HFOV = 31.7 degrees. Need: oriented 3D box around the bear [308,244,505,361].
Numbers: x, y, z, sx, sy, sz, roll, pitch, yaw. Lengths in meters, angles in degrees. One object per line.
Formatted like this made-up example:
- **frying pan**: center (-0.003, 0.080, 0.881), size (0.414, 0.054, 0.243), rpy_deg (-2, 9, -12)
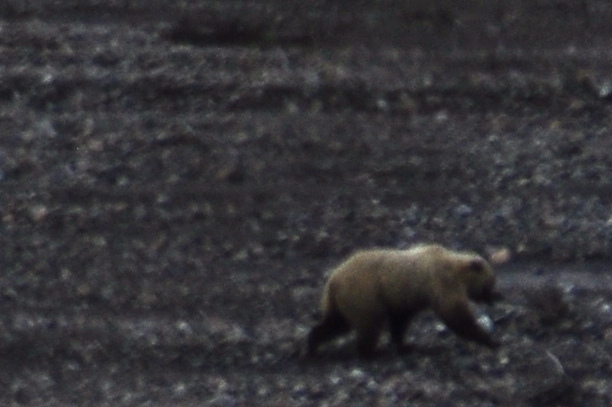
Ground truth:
- **bear**: center (0.515, 0.460, 5.692), size (1.134, 0.662, 0.408), rpy_deg (-4, 13, -3)
